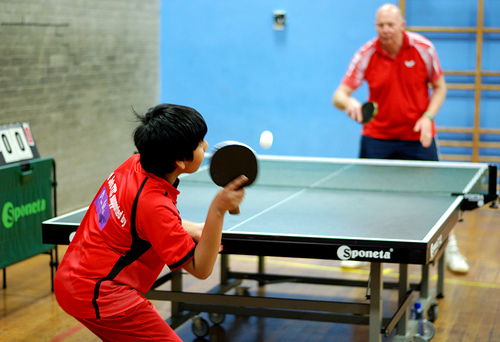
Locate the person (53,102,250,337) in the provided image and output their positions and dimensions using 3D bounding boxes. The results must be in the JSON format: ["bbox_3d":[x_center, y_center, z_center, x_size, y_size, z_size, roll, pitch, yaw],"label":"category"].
[{"bbox_3d":[-0.396,0.217,1.881,0.723,0.956,0.310,5,9,17],"label":"person"}]

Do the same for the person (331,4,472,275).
[{"bbox_3d":[1.100,-0.689,3.724,0.827,1.235,0.620,6,9,20],"label":"person"}]
